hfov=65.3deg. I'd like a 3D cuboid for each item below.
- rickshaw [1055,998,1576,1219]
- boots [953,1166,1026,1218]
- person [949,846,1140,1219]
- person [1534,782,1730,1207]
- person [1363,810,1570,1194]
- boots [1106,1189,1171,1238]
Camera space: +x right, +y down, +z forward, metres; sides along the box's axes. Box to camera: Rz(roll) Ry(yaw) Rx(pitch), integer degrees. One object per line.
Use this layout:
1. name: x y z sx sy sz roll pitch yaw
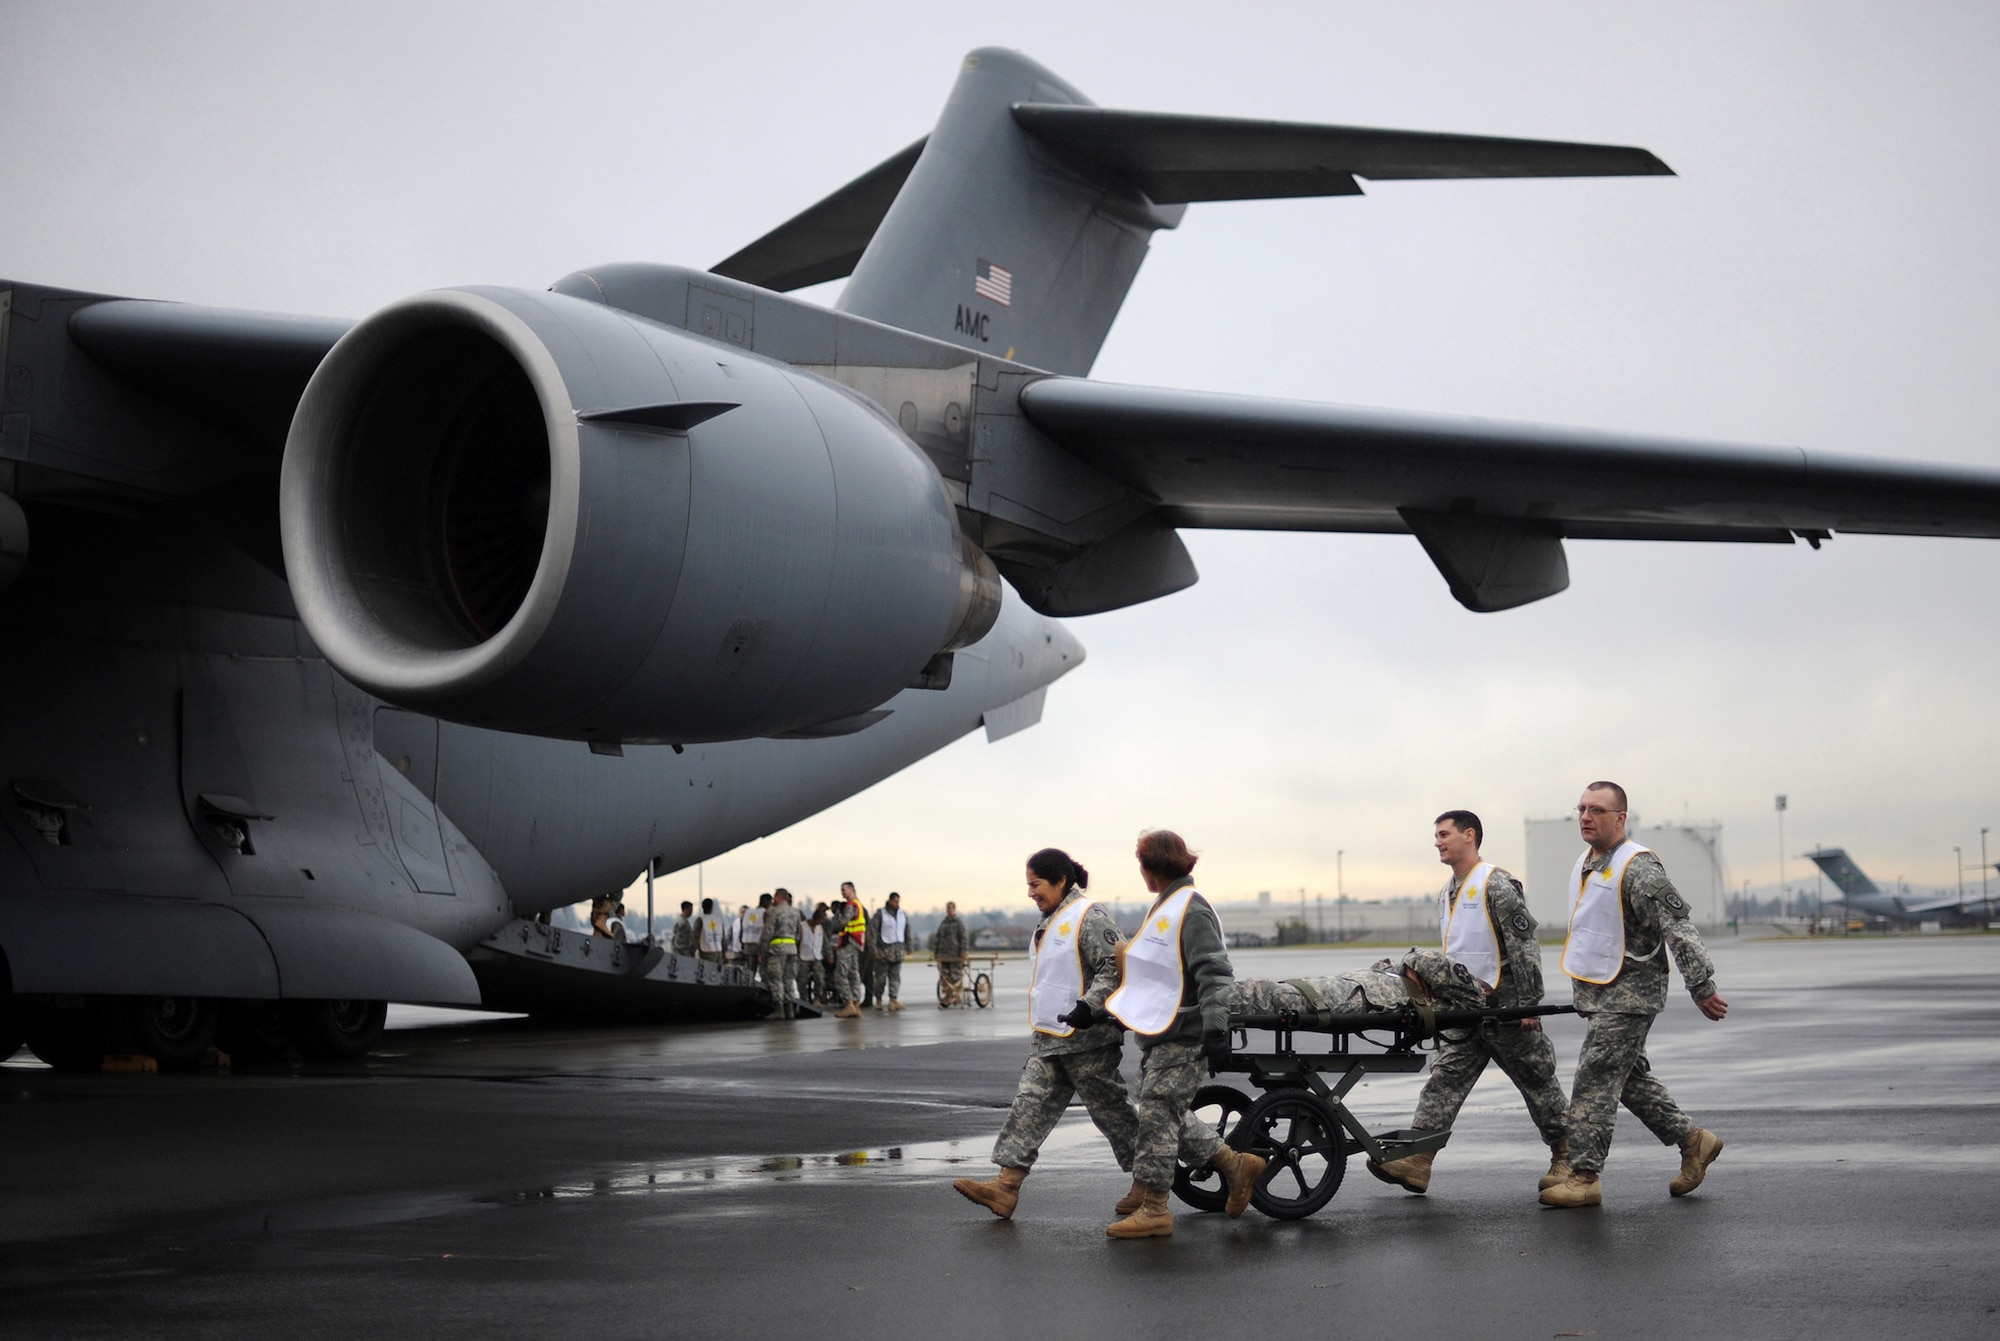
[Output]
1. rickshaw: 2.213 2.463 8.905 2.050 1.005 1.324 -3 -8 19
2. boots: -0.047 2.736 8.207 0.311 0.242 0.433 4 -8 4
3. person: 0.207 1.862 8.946 1.496 2.502 1.044 2 -4 -20
4. person: 3.647 1.875 9.011 1.185 2.292 1.181 4 -11 6
5. person: 2.831 1.949 9.238 1.346 2.164 0.829 2 -12 6
6. boots: 0.699 2.718 7.823 0.300 0.242 0.292 3 -8 12
